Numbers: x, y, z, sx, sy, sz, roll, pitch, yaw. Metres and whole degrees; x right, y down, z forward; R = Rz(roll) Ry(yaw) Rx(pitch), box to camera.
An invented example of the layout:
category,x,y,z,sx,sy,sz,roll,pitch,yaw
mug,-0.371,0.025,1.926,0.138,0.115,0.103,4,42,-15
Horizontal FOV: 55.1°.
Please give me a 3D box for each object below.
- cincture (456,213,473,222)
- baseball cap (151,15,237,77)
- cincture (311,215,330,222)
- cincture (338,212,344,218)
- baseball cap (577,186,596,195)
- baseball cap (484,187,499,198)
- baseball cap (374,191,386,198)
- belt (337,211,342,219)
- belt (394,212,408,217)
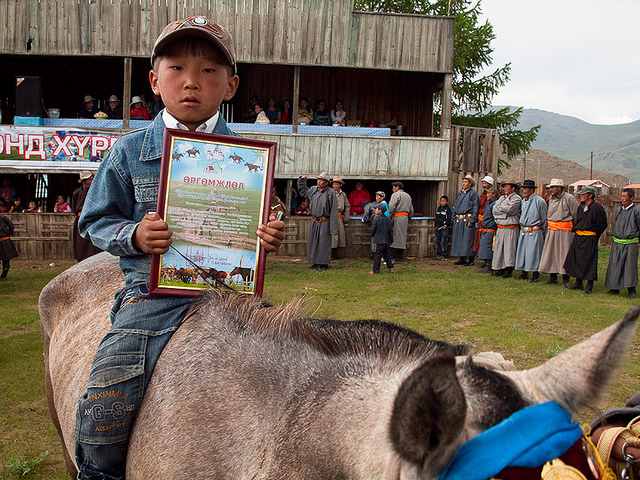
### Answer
category,x,y,z,sx,sy,sz,roll,pitch,yaw
cincture,3.197,-0.489,13.623,0.206,0.128,0.167,-6,6,7
baseball cap,-0.583,-1.004,3.050,0.333,0.264,0.548,4,4,-7
cincture,-0.006,-0.427,12.642,0.403,0.136,0.097,4,6,29
cincture,0.457,-0.570,13.924,0.082,0.133,0.045,-3,-30,0
baseball cap,4.649,-0.861,10.665,0.226,0.105,0.166,-8,3,8
baseball cap,3.678,-0.995,13.030,0.149,0.227,0.205,4,-1,-23
baseball cap,1.350,-1.003,13.335,0.233,0.094,0.167,17,-3,-41
belt,0.453,-0.563,14.026,0.085,0.139,0.046,1,-13,-15
belt,1.842,-0.580,14.044,0.287,0.078,0.088,2,5,6
